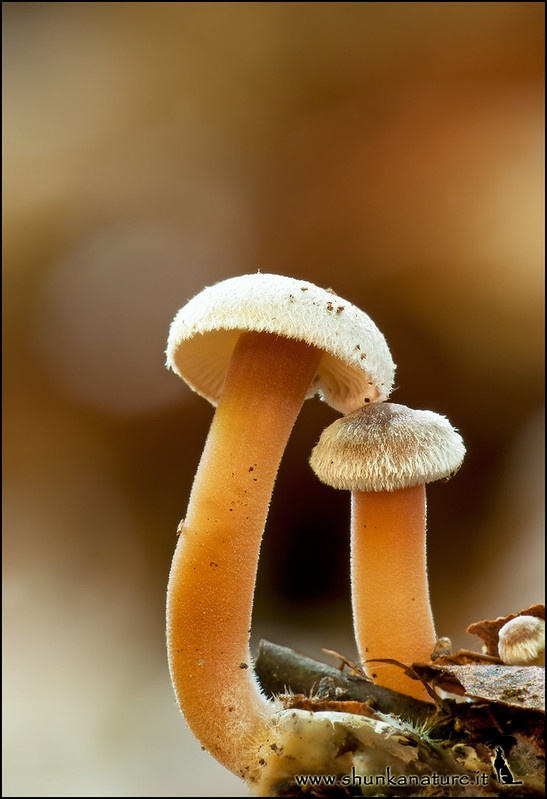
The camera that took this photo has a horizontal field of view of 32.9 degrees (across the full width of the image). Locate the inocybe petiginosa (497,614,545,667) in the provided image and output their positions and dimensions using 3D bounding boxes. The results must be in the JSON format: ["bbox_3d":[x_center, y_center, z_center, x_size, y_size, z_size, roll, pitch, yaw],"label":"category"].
[{"bbox_3d":[0.364,0.351,1.353,0.065,0.059,0.070,-1,11,14],"label":"inocybe petiginosa"}]
